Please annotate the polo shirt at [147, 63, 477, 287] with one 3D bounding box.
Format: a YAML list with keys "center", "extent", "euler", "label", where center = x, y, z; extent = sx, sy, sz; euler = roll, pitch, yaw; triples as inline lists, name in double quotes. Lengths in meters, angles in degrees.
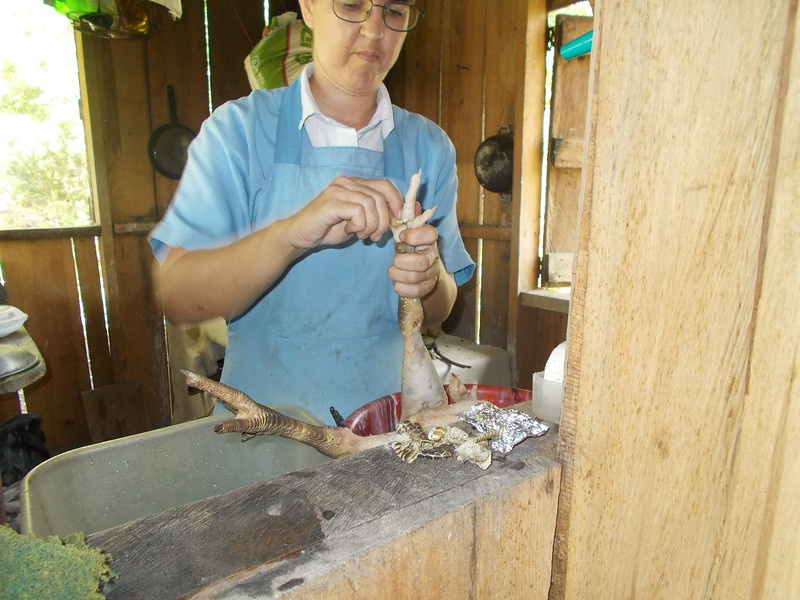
- center: [-0.225, -0.300, 2.218]
  extent: [1.003, 0.821, 0.458]
  euler: [2, 6, -22]
  label: "polo shirt"

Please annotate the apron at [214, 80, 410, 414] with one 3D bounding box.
- center: [-0.288, -0.161, 2.128]
  extent: [0.568, 0.994, 0.522]
  euler: [20, 21, 35]
  label: "apron"

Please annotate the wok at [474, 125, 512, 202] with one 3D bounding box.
- center: [0.448, -0.643, 3.305]
  extent: [0.186, 0.326, 0.265]
  euler: [-1, -5, -9]
  label: "wok"
